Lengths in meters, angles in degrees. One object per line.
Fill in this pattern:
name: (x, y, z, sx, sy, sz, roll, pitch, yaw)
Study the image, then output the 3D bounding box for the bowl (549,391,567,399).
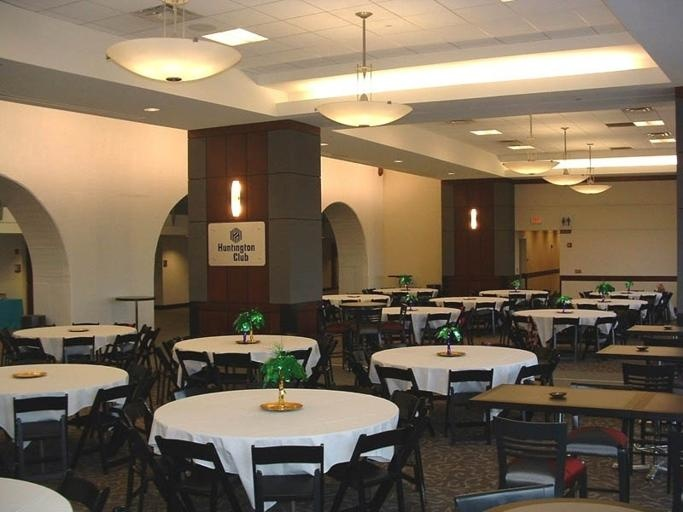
bowl: (1.679, 1.082, 4.685, 0.132, 0.022, 0.186, -1, 0, 15)

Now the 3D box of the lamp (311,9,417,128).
lamp: (0.424, -2.334, 8.164, 1.465, 1.573, 1.402, -3, -10, 23)
